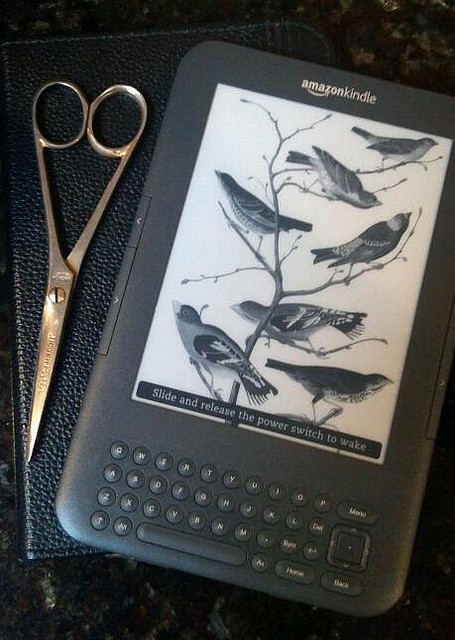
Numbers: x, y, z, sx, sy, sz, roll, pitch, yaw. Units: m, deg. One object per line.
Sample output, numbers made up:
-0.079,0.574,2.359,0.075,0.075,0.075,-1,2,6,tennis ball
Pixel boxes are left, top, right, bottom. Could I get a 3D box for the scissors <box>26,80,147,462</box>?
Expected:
-0.120,-0.036,0.502,0.099,0.020,0.273,14,91,10,scissors
